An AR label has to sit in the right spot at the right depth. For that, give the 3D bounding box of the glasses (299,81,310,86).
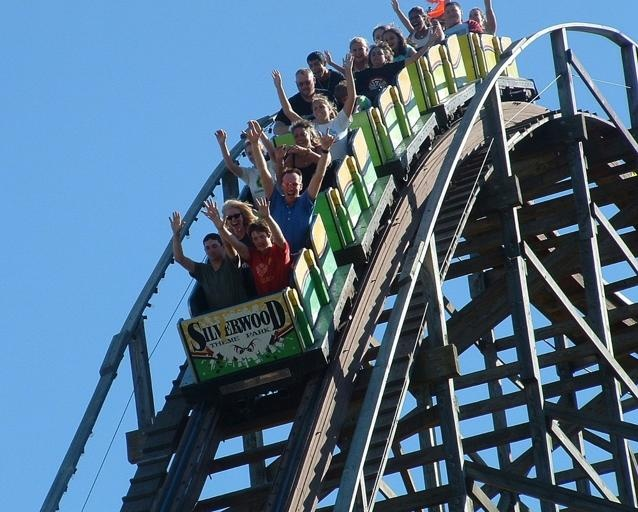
[{"bbox_3d":[-0.186,-2.116,21.516,0.125,0.023,0.079,-1,-28,-3],"label":"glasses"}]
